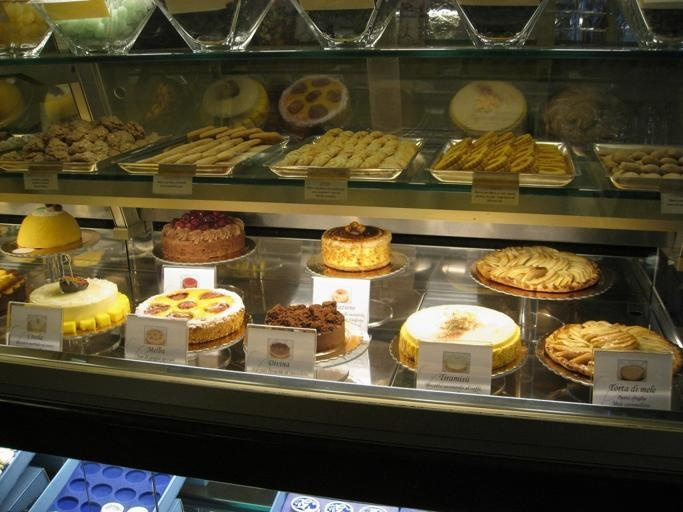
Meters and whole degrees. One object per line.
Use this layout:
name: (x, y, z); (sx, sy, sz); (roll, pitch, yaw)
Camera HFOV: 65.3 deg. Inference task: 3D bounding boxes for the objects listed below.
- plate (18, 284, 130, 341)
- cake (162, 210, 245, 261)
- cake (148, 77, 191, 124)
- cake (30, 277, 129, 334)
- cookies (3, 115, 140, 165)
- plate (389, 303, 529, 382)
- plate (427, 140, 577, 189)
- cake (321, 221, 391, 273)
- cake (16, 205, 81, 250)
plate: (-0.874, 0.170, 1.846); (0.288, 0.051, 0.260); (15, 23, 21)
cake: (-0.560, -0.068, 2.151); (0.277, 0.116, 0.249); (-8, 21, -27)
cake: (-0.647, -0.584, 2.016); (0.199, 0.152, 0.036); (2, -3, 18)
cake: (-0.874, 0.179, 1.831); (0.301, 0.056, 0.254); (7, 21, 5)
cookies: (-0.844, -0.363, 1.706); (0.308, 0.056, 0.269); (2, 24, 6)
plate: (0.352, 0.252, 1.619); (0.406, 0.132, 0.268); (2, 14, 16)
plate: (0.483, -0.281, 1.562); (0.394, 0.120, 0.461); (2, 13, 17)
cake: (0.058, -0.030, 1.999); (0.261, 0.116, 0.221); (1, 12, 4)
cake: (-1.181, -0.106, 2.162); (0.241, 0.111, 0.203); (-1, 15, -6)
